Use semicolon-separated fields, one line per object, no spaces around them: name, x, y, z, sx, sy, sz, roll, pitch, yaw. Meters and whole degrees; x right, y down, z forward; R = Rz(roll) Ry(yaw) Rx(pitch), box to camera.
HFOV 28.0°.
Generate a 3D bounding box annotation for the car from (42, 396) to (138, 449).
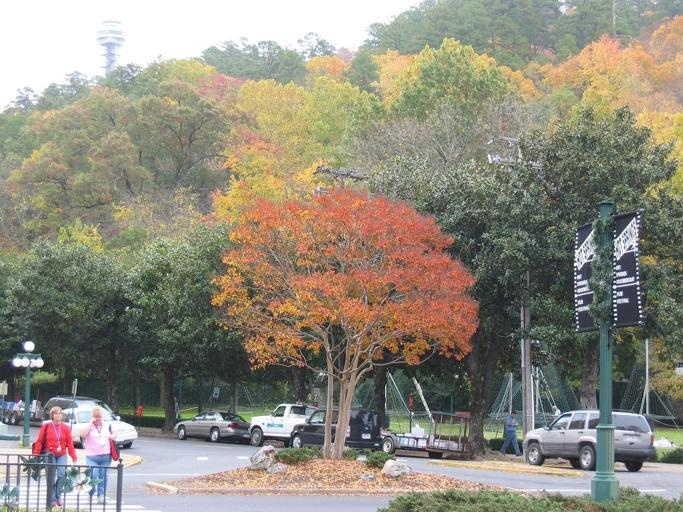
car;-14.708;9.246;79.772;3.235;3.014;7.249;5;-10;-38
